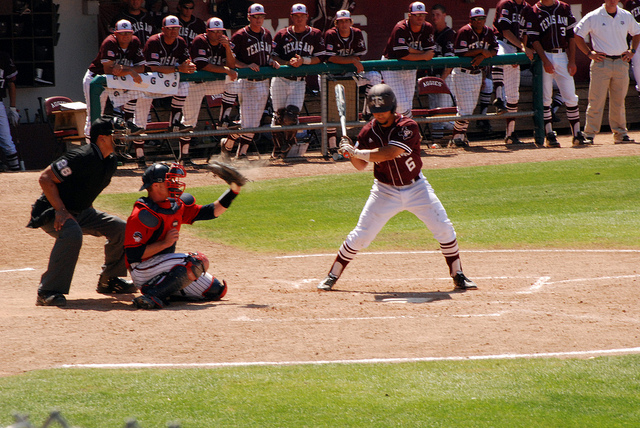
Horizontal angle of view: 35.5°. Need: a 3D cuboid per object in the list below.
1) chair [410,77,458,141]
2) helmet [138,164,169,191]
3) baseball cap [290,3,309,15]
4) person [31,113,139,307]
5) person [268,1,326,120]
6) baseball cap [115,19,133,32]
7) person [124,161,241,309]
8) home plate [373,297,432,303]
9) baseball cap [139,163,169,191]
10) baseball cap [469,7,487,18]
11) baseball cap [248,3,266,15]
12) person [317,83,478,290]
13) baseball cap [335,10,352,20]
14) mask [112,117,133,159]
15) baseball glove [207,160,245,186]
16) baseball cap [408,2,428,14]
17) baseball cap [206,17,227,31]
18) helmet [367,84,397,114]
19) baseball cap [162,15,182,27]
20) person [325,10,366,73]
[{"bbox_3d":[2.280,-2.018,18.857,0.799,0.945,0.873,-16,37,-31],"label":"chair"},{"bbox_3d":[-1.867,-0.406,11.267,0.335,0.293,0.175,-1,7,-7],"label":"helmet"},{"bbox_3d":[-0.379,-3.627,17.764,0.238,0.186,0.324,-1,6,-9],"label":"baseball cap"},{"bbox_3d":[-2.716,-0.041,11.644,0.647,2.165,0.960,3,8,24],"label":"person"},{"bbox_3d":[-0.412,-2.719,17.820,1.033,2.050,0.769,0,7,-1],"label":"person"},{"bbox_3d":[-3.226,-3.102,16.505,0.295,0.142,0.329,-5,11,-24],"label":"baseball cap"},{"bbox_3d":[-1.662,0.236,11.471,1.045,1.643,0.448,-4,9,-30],"label":"person"},{"bbox_3d":[0.977,1.009,11.685,0.549,0.027,0.269,1,5,15],"label":"home plate"},{"bbox_3d":[-1.834,-0.420,11.364,0.494,0.242,0.288,-11,6,1],"label":"baseball cap"},{"bbox_3d":[2.902,-3.782,18.709,0.388,0.199,0.462,-2,4,-2],"label":"baseball cap"},{"bbox_3d":[-1.112,-3.554,17.383,0.248,0.207,0.337,-1,6,-4],"label":"baseball cap"},{"bbox_3d":[0.882,-0.291,11.817,1.727,2.458,0.517,0,8,-1],"label":"person"},{"bbox_3d":[0.416,-3.549,17.847,0.284,0.134,0.308,-1,16,-1],"label":"baseball cap"},{"bbox_3d":[-2.341,-0.896,11.790,0.195,0.487,0.580,-2,6,-10],"label":"mask"},{"bbox_3d":[-1.067,-0.463,11.497,0.447,0.116,0.230,20,6,0],"label":"baseball glove"},{"bbox_3d":[1.704,-3.721,18.077,0.353,0.164,0.431,-6,10,-26],"label":"baseball cap"},{"bbox_3d":[-1.793,-3.246,17.082,0.302,0.140,0.365,-3,8,-22],"label":"baseball cap"},{"bbox_3d":[0.710,-1.342,11.690,0.413,0.265,0.412,-1,25,22],"label":"helmet"},{"bbox_3d":[-2.498,-3.220,16.751,0.272,0.211,0.373,-1,6,-7],"label":"baseball cap"},{"bbox_3d":[0.454,-3.074,17.913,0.709,1.090,0.367,0,8,0],"label":"person"}]
